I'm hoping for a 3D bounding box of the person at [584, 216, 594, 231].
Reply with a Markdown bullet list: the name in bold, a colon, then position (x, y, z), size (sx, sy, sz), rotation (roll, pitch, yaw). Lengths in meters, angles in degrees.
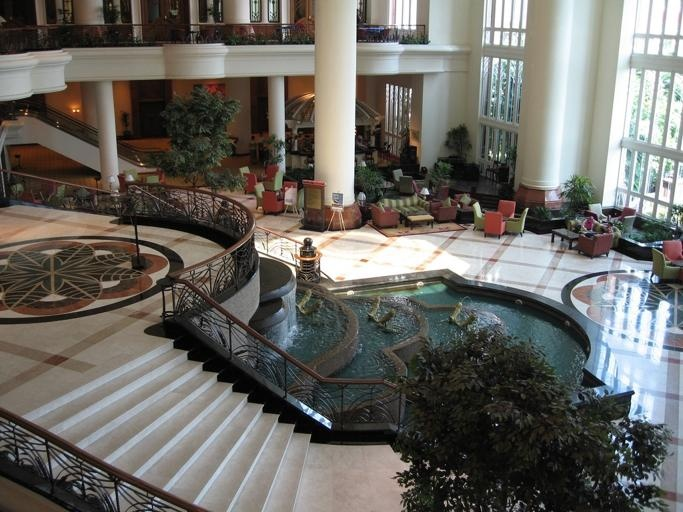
- **person**: position (7.982, -1.032, 15.204), size (0.187, 0.208, 0.784), rotation (-14, 17, 32)
